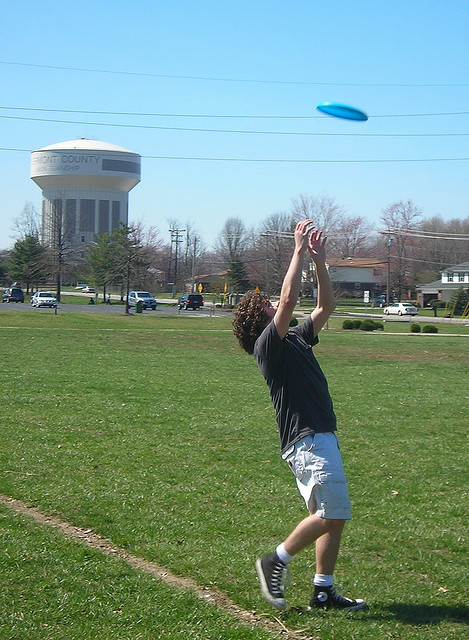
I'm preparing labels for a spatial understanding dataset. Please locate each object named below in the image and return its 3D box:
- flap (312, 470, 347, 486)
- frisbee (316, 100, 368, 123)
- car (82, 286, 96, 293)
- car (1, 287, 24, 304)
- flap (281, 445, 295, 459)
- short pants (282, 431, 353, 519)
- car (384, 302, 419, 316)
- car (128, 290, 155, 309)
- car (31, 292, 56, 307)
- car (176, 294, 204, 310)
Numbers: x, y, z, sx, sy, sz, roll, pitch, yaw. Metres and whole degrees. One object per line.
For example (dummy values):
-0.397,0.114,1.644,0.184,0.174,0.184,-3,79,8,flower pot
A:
0.580,0.929,4.783,0.150,0.059,0.101,-3,-2,-13,flap
0.892,-1.763,6.841,0.316,0.139,0.377,2,2,33,frisbee
-18.878,-3.930,103.953,1.392,0.842,2.089,-2,2,-31,car
-17.732,-1.944,63.602,1.268,0.803,1.914,-2,6,-22,car
0.334,0.813,4.950,0.097,0.031,0.058,-38,-10,3,flap
0.523,0.929,4.884,0.248,0.504,0.446,0,2,-34,short pants
13.438,-0.858,63.265,1.423,0.764,2.932,-1,4,-20,car
-7.126,-1.603,61.266,1.245,0.843,2.060,0,-1,-27,car
-13.274,-1.426,55.255,1.241,0.669,2.420,0,-2,-20,car
-3.707,-1.547,66.115,1.221,0.859,1.848,-2,9,-19,car
